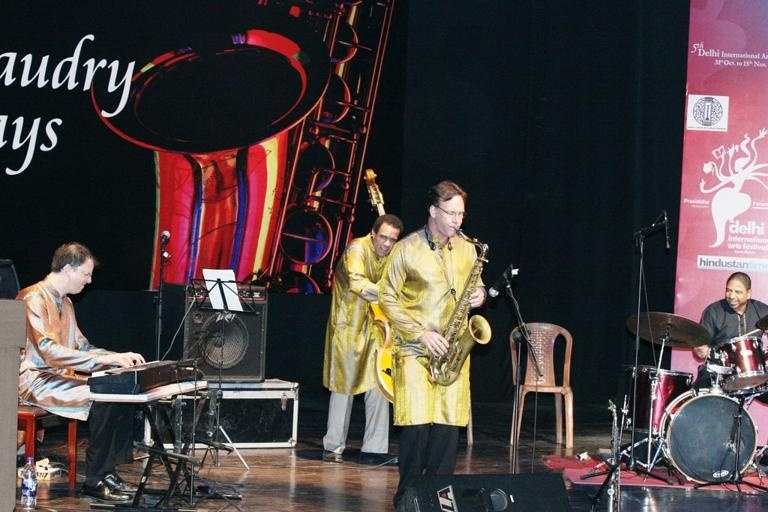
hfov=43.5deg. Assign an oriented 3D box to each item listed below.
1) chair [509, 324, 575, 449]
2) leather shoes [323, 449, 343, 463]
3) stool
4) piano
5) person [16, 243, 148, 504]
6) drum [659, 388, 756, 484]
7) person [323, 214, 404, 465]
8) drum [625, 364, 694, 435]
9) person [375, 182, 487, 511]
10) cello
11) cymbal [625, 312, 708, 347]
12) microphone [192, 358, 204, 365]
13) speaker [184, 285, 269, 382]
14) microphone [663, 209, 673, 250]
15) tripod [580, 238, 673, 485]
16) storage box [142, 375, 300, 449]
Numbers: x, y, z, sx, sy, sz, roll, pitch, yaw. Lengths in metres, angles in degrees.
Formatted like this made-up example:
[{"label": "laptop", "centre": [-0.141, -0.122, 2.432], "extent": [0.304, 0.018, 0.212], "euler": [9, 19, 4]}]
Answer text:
[{"label": "chair", "centre": [1.676, 1.444, 10.371], "extent": [0.696, 1.333, 0.868], "euler": [2, 3, 7]}, {"label": "leather shoes", "centre": [-0.515, 2.005, 9.564], "extent": [0.089, 0.099, 0.222], "euler": [5, -10, -40]}, {"label": "stool", "centre": [-3.072, 1.622, 8.714], "extent": [0.602, 0.842, 0.730], "euler": [-2, -5, 44]}, {"label": "piano", "centre": [-2.062, 1.067, 8.475], "extent": [0.514, 0.240, 1.163], "euler": [-3, 0, 19]}, {"label": "person", "centre": [-2.732, 1.030, 8.689], "extent": [1.167, 2.177, 0.886], "euler": [6, 6, 15]}, {"label": "drum", "centre": [3.147, 1.793, 9.298], "extent": [0.892, 0.886, 0.383], "euler": [-1, 0, 3]}, {"label": "person", "centre": [-0.150, 0.834, 9.696], "extent": [0.842, 2.484, 0.857], "euler": [3, 0, -29]}, {"label": "drum", "centre": [2.612, 1.397, 9.478], "extent": [0.622, 0.599, 0.639], "euler": [13, 3, 42]}, {"label": "person", "centre": [0.328, 0.733, 7.899], "extent": [0.781, 2.645, 0.422], "euler": [2, 6, 3]}, {"label": "cello", "centre": [-0.042, 0.317, 9.247], "extent": [0.372, 2.116, 0.369], "euler": [-1, 6, 7]}, {"label": "cymbal", "centre": [2.755, 0.737, 9.241], "extent": [0.468, 0.113, 0.482], "euler": [-5, -34, 33]}, {"label": "microphone", "centre": [-1.640, 0.928, 8.421], "extent": [0.061, 0.028, 0.084], "euler": [0, 1, -1]}, {"label": "speaker", "centre": [-1.615, 0.776, 9.920], "extent": [0.838, 1.087, 0.622], "euler": [2, 9, -3]}, {"label": "microphone", "centre": [3.171, -0.300, 10.819], "extent": [0.078, 0.605, 0.187], "euler": [-2, 3, 18]}, {"label": "tripod", "centre": [2.653, 1.062, 9.919], "extent": [1.027, 2.929, 0.977], "euler": [6, 6, 44]}, {"label": "storage box", "centre": [-1.508, 1.502, 10.333], "extent": [1.517, 0.751, 1.038], "euler": [3, 4, -8]}]
